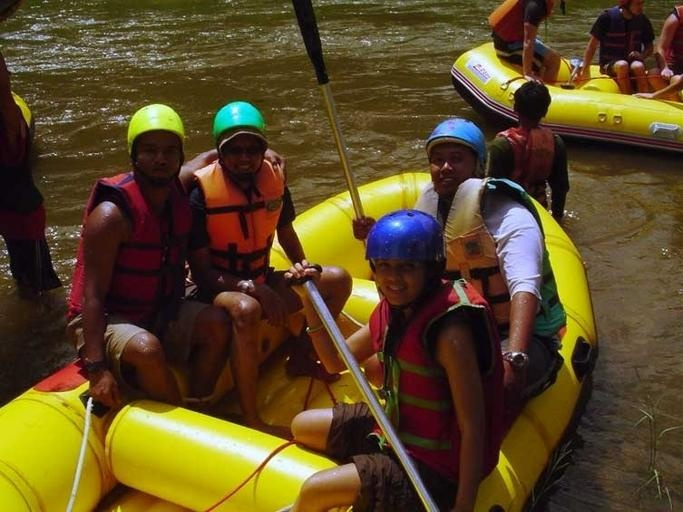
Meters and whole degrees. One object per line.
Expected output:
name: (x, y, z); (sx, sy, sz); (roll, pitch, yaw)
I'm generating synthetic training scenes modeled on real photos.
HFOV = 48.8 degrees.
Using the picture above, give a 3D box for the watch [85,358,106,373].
watch: (-1.131, 0.507, 3.508); (0.068, 0.027, 0.069); (3, 7, 19)

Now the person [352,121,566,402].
person: (0.644, 0.330, 4.791); (1.366, 0.977, 2.491); (-21, -18, -10)

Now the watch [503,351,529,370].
watch: (0.796, 0.483, 3.437); (0.073, 0.055, 0.098); (13, -7, -43)

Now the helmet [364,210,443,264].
helmet: (0.262, -0.076, 3.140); (0.223, 0.202, 0.259); (10, 22, 37)

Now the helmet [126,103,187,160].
helmet: (-0.920, -0.611, 3.800); (0.287, 0.302, 0.384); (-2, -6, -20)

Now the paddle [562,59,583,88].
paddle: (2.562, -2.014, 8.347); (0.198, 0.355, 0.166); (7, 12, -33)
